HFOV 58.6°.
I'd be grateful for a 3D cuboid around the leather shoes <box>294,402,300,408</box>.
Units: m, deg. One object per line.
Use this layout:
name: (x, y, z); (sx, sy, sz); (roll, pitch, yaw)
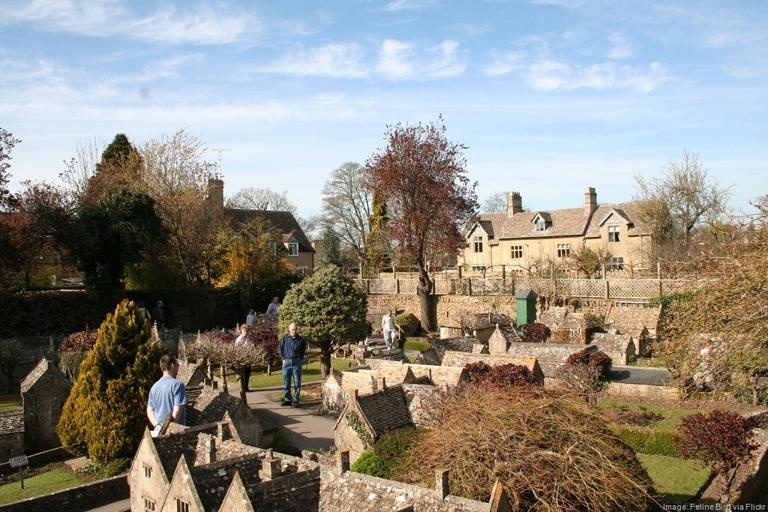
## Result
leather shoes: (-3.797, 6.557, 29.940); (0.343, 0.236, 0.209); (0, 10, 13)
